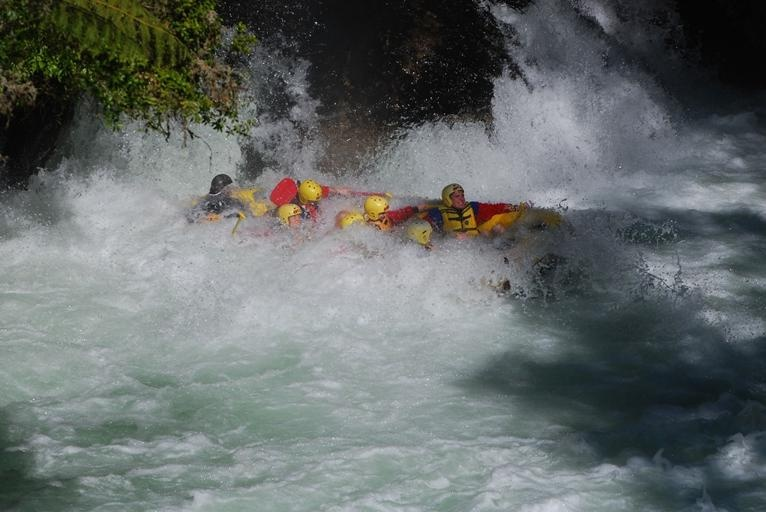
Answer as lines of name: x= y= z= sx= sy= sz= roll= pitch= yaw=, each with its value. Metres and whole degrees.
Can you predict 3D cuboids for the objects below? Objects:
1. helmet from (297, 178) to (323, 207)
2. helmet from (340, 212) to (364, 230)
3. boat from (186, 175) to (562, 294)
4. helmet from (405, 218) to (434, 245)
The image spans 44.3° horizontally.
helmet: x=-1.832 y=-1.630 z=23.545 sx=0.506 sy=0.645 sz=0.509 roll=-31 pitch=-25 yaw=-30
helmet: x=-0.734 y=-0.885 z=23.156 sx=0.537 sy=0.363 sz=0.458 roll=-1 pitch=5 yaw=29
boat: x=-0.087 y=-0.167 z=24.024 sx=11.456 sy=2.441 sz=3.329 roll=6 pitch=22 yaw=3
helmet: x=0.932 y=-0.633 z=22.642 sx=0.671 sy=0.547 sz=0.489 roll=-6 pitch=24 yaw=-4
